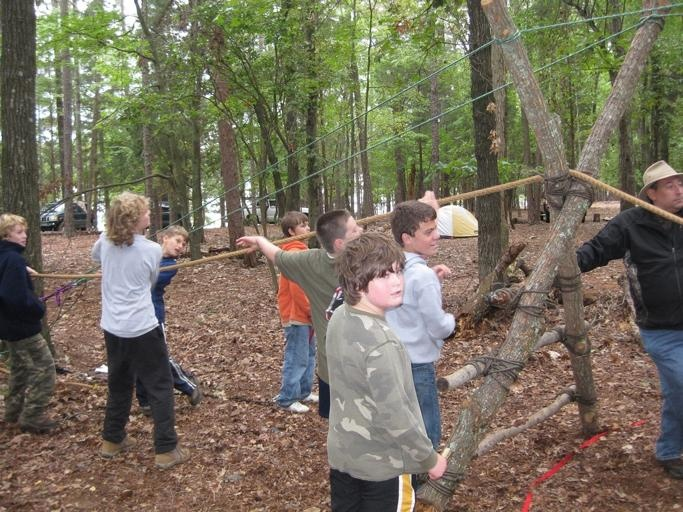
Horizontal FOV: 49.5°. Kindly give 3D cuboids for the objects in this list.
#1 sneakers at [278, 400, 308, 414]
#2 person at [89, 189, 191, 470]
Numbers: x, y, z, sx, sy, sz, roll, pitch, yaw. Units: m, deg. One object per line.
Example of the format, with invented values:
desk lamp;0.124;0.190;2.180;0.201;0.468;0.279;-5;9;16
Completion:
sneakers;-0.569;1.715;8.438;0.351;0.132;0.125;0;0;13
person;-2.055;0.735;7.468;0.869;2.760;0.397;-1;5;-5
